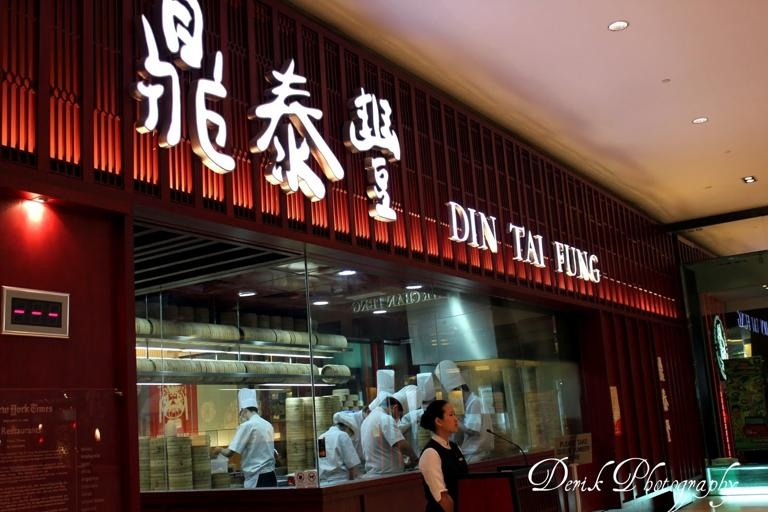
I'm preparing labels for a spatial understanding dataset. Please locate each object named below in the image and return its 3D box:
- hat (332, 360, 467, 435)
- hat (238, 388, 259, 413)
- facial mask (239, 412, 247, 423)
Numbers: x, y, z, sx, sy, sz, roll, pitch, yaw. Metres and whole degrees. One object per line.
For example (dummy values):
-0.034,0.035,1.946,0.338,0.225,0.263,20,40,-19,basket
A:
0.207,1.557,7.595,1.329,0.676,0.456,-5,-7,-44,hat
-1.257,1.370,6.492,0.186,0.183,0.197,-10,-24,6,hat
-1.320,1.516,6.454,0.070,0.081,0.084,0,10,15,facial mask
